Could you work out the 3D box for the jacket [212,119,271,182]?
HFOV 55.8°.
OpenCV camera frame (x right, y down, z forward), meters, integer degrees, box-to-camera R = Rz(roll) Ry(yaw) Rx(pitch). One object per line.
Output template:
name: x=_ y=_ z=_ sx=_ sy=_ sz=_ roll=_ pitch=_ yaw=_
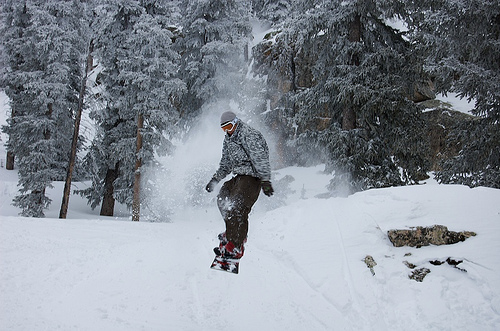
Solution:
jacket: x=-0.220 y=-0.387 z=15.236 sx=2.494 sy=2.241 sz=1.059 roll=2 pitch=11 yaw=43
